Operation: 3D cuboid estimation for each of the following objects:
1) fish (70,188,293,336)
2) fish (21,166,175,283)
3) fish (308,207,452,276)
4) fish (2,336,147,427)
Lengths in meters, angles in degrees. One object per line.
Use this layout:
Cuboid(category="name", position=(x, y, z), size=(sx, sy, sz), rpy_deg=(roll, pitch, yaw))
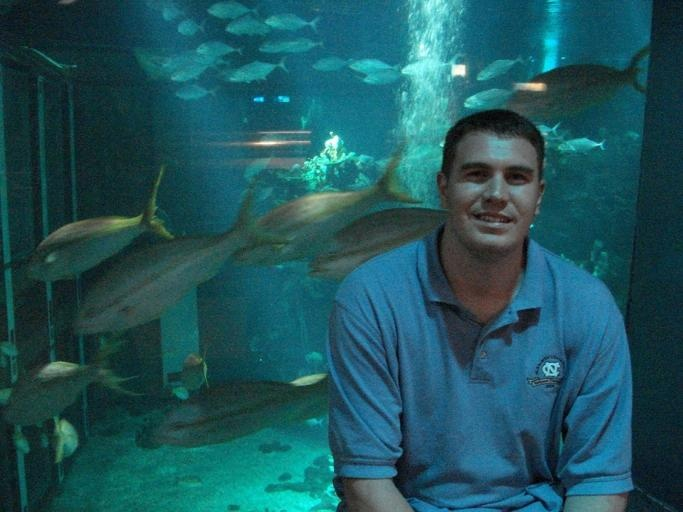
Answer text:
Cuboid(category="fish", position=(-1.155, 0.124, 4.363), size=(1.775, 0.558, 0.270), rpy_deg=(-28, -3, 18))
Cuboid(category="fish", position=(-1.639, -0.172, 4.333), size=(1.266, 0.511, 0.255), rpy_deg=(-18, -19, 22))
Cuboid(category="fish", position=(0.174, -0.096, 3.904), size=(0.773, 0.169, 0.283), rpy_deg=(-21, 37, -10))
Cuboid(category="fish", position=(-1.882, 0.828, 4.360), size=(1.014, 0.440, 0.323), rpy_deg=(-13, 43, -9))
